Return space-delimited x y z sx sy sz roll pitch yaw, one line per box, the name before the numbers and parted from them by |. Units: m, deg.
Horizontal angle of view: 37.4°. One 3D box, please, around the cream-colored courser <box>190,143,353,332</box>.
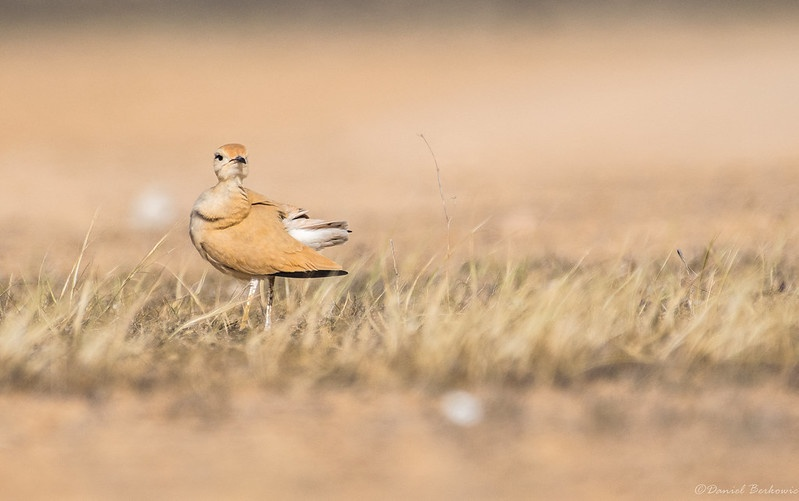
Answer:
cream-colored courser | -1.202 -0.141 10.703 1.389 1.508 0.841 -1 35 -2
